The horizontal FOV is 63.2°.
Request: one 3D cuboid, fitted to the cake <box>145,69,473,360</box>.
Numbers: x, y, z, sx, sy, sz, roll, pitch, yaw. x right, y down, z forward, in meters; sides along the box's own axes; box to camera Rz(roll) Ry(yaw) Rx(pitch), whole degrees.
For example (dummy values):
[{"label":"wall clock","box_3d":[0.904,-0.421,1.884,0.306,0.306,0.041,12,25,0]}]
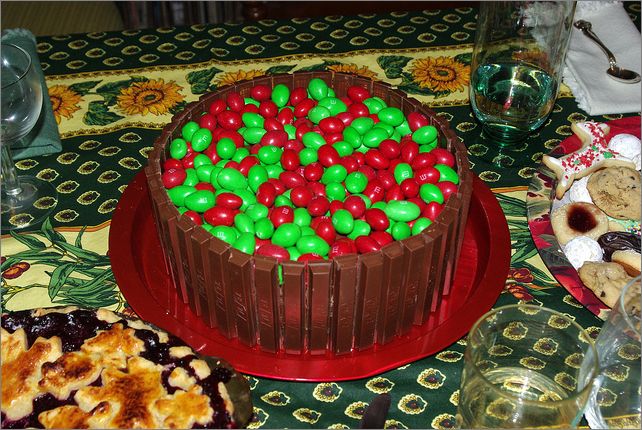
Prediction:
[{"label":"cake","box_3d":[-0.060,0.058,1.537,0.928,0.477,0.559,7,30,11]}]
